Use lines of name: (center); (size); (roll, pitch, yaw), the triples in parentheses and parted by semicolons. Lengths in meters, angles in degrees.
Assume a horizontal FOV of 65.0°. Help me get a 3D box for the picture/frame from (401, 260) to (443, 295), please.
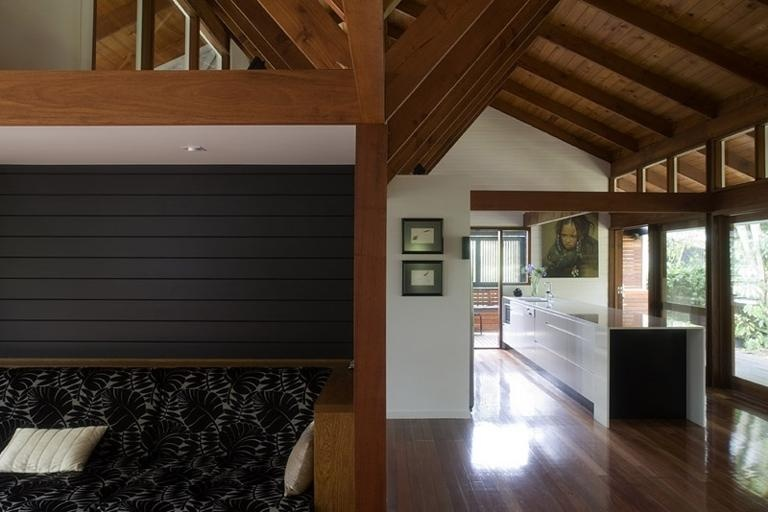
picture/frame: (0.467, 0.260, 7.372); (0.450, 0.365, 0.044); (0, -3, -2)

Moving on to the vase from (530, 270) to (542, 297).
vase: (2.788, 0.454, 11.113); (0.232, 0.605, 0.619); (3, 13, 14)

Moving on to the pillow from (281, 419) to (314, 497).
pillow: (-0.733, 1.835, 5.540); (0.326, 0.523, 0.727); (-2, -1, 0)

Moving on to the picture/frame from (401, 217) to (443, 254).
picture/frame: (0.473, -0.259, 7.362); (0.466, 0.362, 0.049); (0, -4, -2)

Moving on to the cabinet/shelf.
cabinet/shelf: (2.880, 1.326, 8.292); (1.180, 1.522, 3.063); (-4, 13, -14)

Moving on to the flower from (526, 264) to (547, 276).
flower: (2.741, 0.229, 10.956); (0.282, 0.157, 0.281); (-6, -14, 22)
